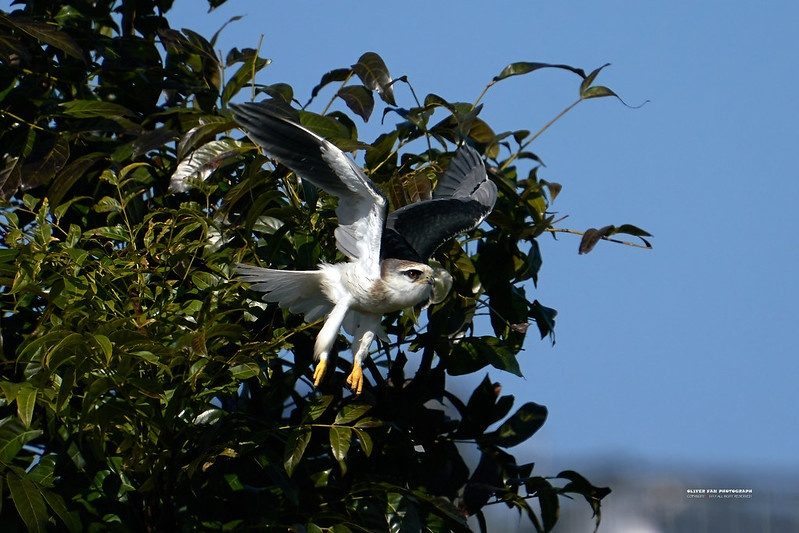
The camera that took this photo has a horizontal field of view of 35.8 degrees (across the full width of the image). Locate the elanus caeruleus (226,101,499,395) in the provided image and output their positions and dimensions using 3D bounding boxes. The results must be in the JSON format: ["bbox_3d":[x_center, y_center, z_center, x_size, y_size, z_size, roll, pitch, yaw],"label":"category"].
[{"bbox_3d":[-0.120,-0.047,3.784,1.003,0.840,0.662,9,0,-40],"label":"elanus caeruleus"}]
